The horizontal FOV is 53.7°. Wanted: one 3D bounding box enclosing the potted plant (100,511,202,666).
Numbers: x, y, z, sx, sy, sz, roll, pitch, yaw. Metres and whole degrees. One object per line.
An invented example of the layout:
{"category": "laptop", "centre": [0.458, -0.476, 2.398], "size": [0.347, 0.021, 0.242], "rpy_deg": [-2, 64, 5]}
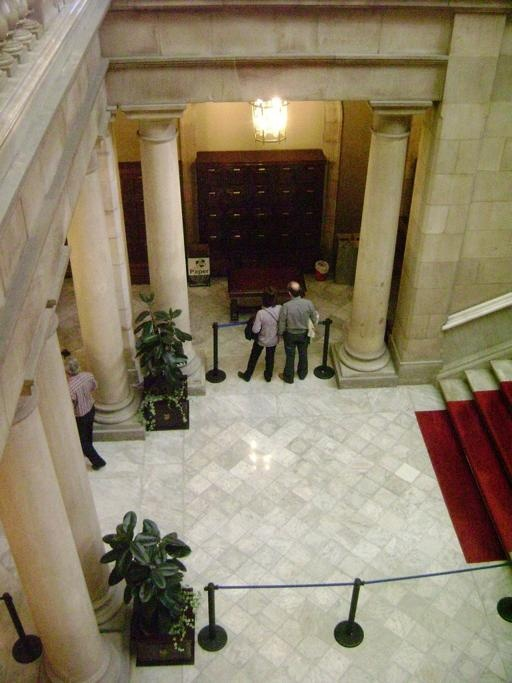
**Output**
{"category": "potted plant", "centre": [-0.882, 2.110, 4.238], "size": [0.688, 1.415, 0.574], "rpy_deg": [0, 31, -1]}

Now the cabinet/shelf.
{"category": "cabinet/shelf", "centre": [0.057, -2.485, 9.485], "size": [2.411, 2.239, 0.813], "rpy_deg": [-3, 42, -2]}

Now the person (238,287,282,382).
{"category": "person", "centre": [0.044, -0.073, 7.317], "size": [0.572, 1.425, 0.401], "rpy_deg": [2, 31, 2]}

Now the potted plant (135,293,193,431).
{"category": "potted plant", "centre": [-1.213, 0.219, 6.594], "size": [0.715, 1.922, 0.740], "rpy_deg": [-5, 31, -10]}

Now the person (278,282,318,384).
{"category": "person", "centre": [0.568, -0.122, 7.242], "size": [0.538, 1.601, 0.298], "rpy_deg": [-1, 31, -2]}

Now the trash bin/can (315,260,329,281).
{"category": "trash bin/can", "centre": [1.240, -1.371, 9.826], "size": [0.317, 0.406, 0.353], "rpy_deg": [1, 42, 1]}
